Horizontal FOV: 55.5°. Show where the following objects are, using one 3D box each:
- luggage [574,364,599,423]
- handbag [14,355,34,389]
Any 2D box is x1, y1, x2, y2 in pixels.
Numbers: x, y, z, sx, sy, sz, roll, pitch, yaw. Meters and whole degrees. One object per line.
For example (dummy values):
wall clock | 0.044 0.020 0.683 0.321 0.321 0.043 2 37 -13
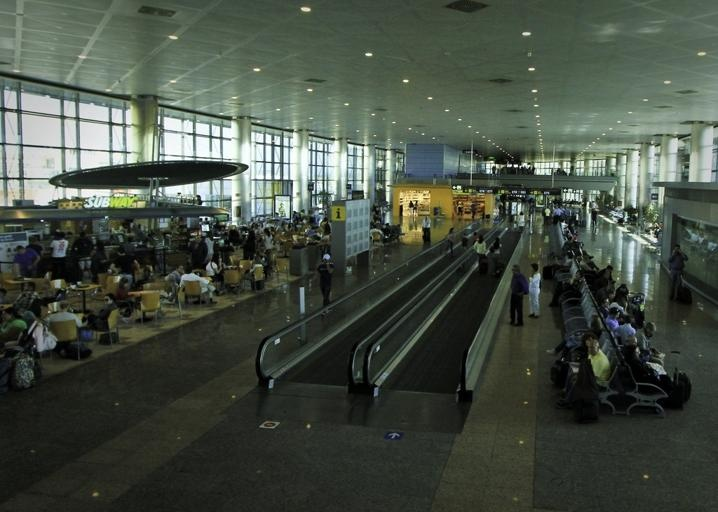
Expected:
luggage | 4.329 2.572 12.959 0.454 0.961 0.717 2 13 10
handbag | -6.978 2.409 14.183 0.195 0.590 0.451 0 -4 18
